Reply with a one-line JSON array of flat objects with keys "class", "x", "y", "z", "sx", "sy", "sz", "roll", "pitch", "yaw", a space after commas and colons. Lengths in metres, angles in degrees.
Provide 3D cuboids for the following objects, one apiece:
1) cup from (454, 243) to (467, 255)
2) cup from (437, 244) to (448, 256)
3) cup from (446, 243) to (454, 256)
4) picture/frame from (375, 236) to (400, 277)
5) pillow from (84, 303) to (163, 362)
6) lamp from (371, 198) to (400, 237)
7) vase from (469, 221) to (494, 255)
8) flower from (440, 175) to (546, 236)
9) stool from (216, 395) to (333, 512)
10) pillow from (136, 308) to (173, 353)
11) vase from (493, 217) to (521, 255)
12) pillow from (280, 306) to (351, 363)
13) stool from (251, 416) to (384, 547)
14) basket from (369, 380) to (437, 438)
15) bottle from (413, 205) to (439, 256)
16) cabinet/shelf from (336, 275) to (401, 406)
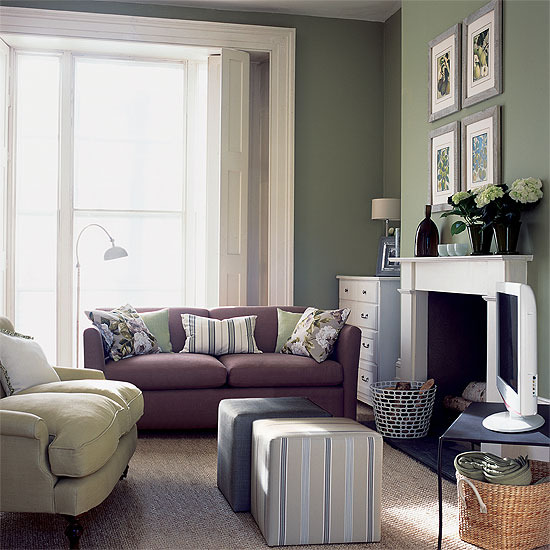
[{"class": "cup", "x": 1.131, "y": -0.158, "z": 3.225, "sx": 0.065, "sy": 0.059, "sz": 0.064, "roll": 2, "pitch": -2, "yaw": 0}, {"class": "cup", "x": 1.080, "y": -0.167, "z": 3.408, "sx": 0.049, "sy": 0.057, "sz": 0.067, "roll": 0, "pitch": -4, "yaw": -1}, {"class": "cup", "x": 1.100, "y": -0.160, "z": 3.312, "sx": 0.054, "sy": 0.069, "sz": 0.058, "roll": -1, "pitch": 5, "yaw": 0}, {"class": "picture/frame", "x": 0.976, "y": -0.164, "z": 4.573, "sx": 0.191, "sy": 0.335, "sz": 0.432, "roll": 0, "pitch": 5, "yaw": 11}, {"class": "pillow", "x": -1.045, "y": 0.341, "z": 3.604, "sx": 0.361, "sy": 0.120, "sz": 0.375, "roll": 36, "pitch": 18, "yaw": -50}, {"class": "lamp", "x": 1.056, "y": -0.548, "z": 5.002, "sx": 0.255, "sy": 0.347, "sz": 0.519, "roll": 0, "pitch": 5, "yaw": 14}, {"class": "vase", "x": 1.153, "y": -0.202, "z": 2.968, "sx": 0.162, "sy": 0.210, "sz": 0.152, "roll": 0, "pitch": -7, "yaw": 8}, {"class": "flower", "x": 1.162, "y": -0.370, "z": 2.845, "sx": 0.275, "sy": 0.270, "sz": 0.618, "roll": -2, "pitch": 4, "yaw": -4}, {"class": "stool", "x": -0.032, "y": 0.772, "z": 2.461, "sx": 0.425, "sy": 0.402, "sz": 0.448, "roll": 2, "pitch": -5, "yaw": -16}, {"class": "pillow", "x": -0.861, "y": 0.413, "z": 3.789, "sx": 0.218, "sy": 0.291, "sz": 0.106, "roll": -12, "pitch": -2, "yaw": -20}, {"class": "vase", "x": 1.222, "y": -0.201, "z": 2.742, "sx": 0.152, "sy": 0.179, "sz": 0.100, "roll": -3, "pitch": 5, "yaw": -21}, {"class": "pillow", "x": 0.276, "y": 0.358, "z": 3.756, "sx": 0.116, "sy": 0.395, "sz": 0.372, "roll": 37, "pitch": -18, "yaw": -33}, {"class": "stool", "x": 0.167, "y": 0.765, "z": 2.045, "sx": 0.410, "sy": 0.405, "sz": 0.436, "roll": 1, "pitch": -4, "yaw": -10}, {"class": "basket", "x": 0.866, "y": 0.853, "z": 3.555, "sx": 0.396, "sy": 0.430, "sz": 0.459, "roll": 0, "pitch": 5, "yaw": 17}, {"class": "bottle", "x": 1.033, "y": -0.307, "z": 3.600, "sx": 0.160, "sy": 0.351, "sz": 0.207, "roll": 0, "pitch": 5, "yaw": 16}, {"class": "cabinet/shelf", "x": 0.753, "y": 0.540, "z": 4.144, "sx": 0.392, "sy": 1.098, "sz": 1.063, "roll": 1, "pitch": -2, "yaw": -4}]
